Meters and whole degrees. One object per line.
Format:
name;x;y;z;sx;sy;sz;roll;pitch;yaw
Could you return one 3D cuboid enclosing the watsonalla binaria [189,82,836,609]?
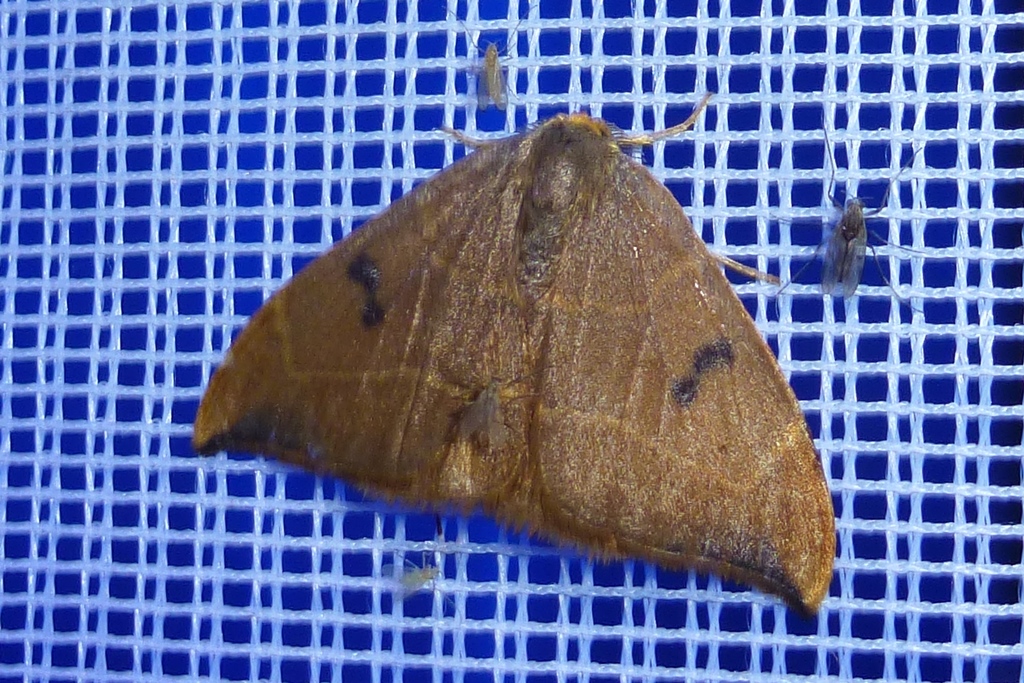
watsonalla binaria;0.129;0.025;8.286;2.297;0.132;1.407;14;85;2
